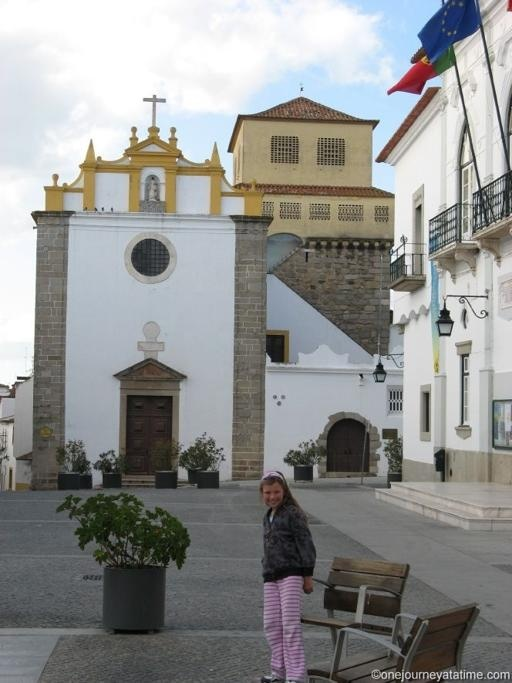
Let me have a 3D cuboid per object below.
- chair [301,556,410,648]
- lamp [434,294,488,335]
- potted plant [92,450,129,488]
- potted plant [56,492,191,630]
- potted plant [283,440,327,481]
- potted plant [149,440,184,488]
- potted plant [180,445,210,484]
[{"bbox_3d":[0.673,1.788,7.281,0.784,0.804,0.609,-12,-16,43],"label":"chair"},{"bbox_3d":[3.496,-0.488,18.153,0.830,0.748,0.253,1,28,10],"label":"lamp"},{"bbox_3d":[-3.400,3.123,26.385,0.916,1.210,0.801,2,-10,-12],"label":"potted plant"},{"bbox_3d":[-0.844,1.698,8.470,1.078,1.355,0.973,9,-15,-40],"label":"potted plant"},{"bbox_3d":[1.261,3.093,27.737,1.098,1.251,0.887,0,-1,0],"label":"potted plant"},{"bbox_3d":[-2.480,3.080,27.172,0.943,1.492,0.943,0,-6,-6],"label":"potted plant"},{"bbox_3d":[-1.553,3.067,26.808,0.855,1.095,0.845,1,-11,-3],"label":"potted plant"}]
